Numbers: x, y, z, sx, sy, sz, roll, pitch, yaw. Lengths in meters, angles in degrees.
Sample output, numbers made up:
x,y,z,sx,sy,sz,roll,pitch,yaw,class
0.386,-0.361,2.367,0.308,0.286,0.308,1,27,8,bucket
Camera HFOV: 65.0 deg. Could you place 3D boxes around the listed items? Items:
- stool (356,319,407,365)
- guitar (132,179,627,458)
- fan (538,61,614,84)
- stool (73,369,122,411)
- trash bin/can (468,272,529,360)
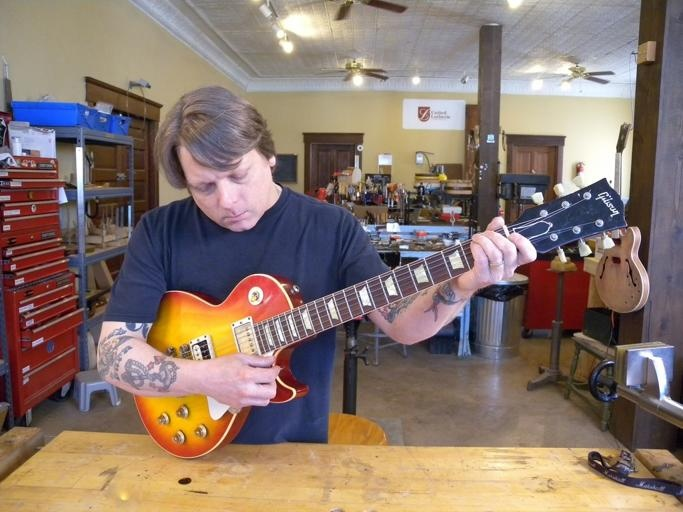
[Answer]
x,y,z,sx,sy,sz,roll,pitch,yaw,class
0.340,0.806,5.036,0.356,0.546,0.366,4,21,17,stool
0.349,0.391,2.607,1.820,0.651,0.266,-20,-11,8,guitar
3.733,-2.945,8.549,0.649,0.153,0.744,10,2,5,fan
-1.713,0.902,3.760,0.276,0.205,0.274,-1,2,-30,stool
1.380,0.508,5.034,0.636,0.763,0.702,1,6,13,trash bin/can
